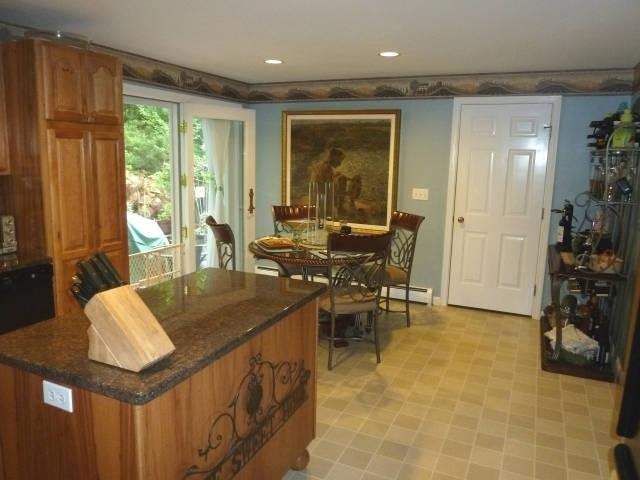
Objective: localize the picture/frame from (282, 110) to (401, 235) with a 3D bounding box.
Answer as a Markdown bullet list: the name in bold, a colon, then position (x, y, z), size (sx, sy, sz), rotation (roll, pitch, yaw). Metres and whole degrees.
- **picture/frame**: position (0.201, -0.823, 5.771), size (1.462, 1.418, 0.031), rotation (6, 13, 24)

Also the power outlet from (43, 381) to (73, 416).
- **power outlet**: position (-1.081, 0.647, 2.004), size (0.157, 0.113, 0.021), rotation (8, 11, 24)
